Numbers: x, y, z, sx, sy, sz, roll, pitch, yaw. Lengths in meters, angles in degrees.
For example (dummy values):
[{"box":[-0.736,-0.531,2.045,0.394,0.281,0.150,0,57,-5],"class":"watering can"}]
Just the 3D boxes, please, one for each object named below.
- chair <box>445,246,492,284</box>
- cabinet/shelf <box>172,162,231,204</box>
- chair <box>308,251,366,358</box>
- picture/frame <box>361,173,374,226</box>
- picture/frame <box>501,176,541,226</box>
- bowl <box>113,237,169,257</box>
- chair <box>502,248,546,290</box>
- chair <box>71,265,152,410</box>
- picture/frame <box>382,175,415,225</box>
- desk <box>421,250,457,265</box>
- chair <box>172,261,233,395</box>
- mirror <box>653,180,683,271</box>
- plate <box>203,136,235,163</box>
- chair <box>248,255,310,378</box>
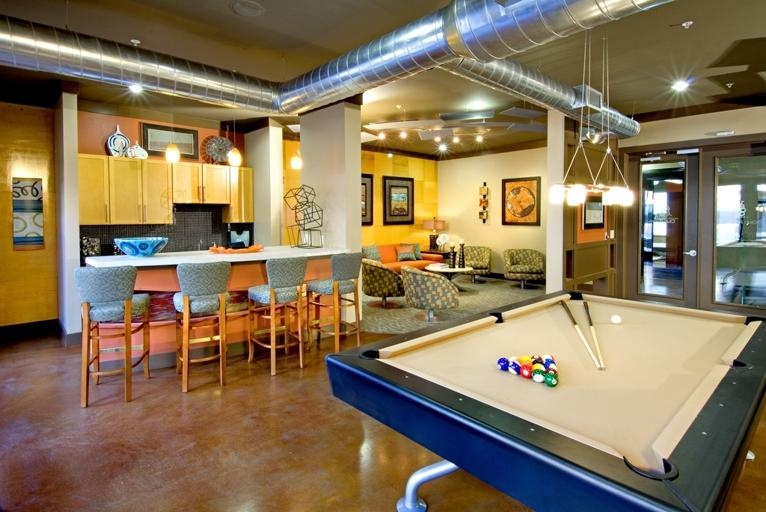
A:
[{"box":[2.128,0.199,11.338,0.718,0.814,0.749,1,7,-2],"class":"chair"},{"box":[-3.220,-1.262,8.595,0.988,0.671,0.387,-5,14,-40],"class":"cabinet/shelf"},{"box":[-0.654,0.608,6.771,0.616,1.382,0.613,2,3,39],"class":"chair"},{"box":[-0.355,-1.283,11.141,0.062,1.144,0.355,4,8,41],"class":"picture/frame"},{"box":[3.108,-1.241,10.952,0.079,1.294,1.184,0,-3,-41],"class":"picture/frame"},{"box":[-2.920,-0.109,5.949,0.532,0.221,0.304,-4,6,-27],"class":"bowl"},{"box":[2.990,0.259,10.457,0.840,0.797,0.790,1,5,6],"class":"chair"},{"box":[-2.984,0.829,5.507,0.647,1.437,0.718,1,4,-10],"class":"chair"},{"box":[0.322,-1.358,11.725,1.328,1.348,0.110,-1,1,-41],"class":"picture/frame"},{"box":[1.320,-0.011,11.634,0.492,0.437,0.371,-5,9,-40],"class":"desk"},{"box":[-2.161,0.742,5.834,0.703,1.512,0.701,-1,3,-29],"class":"chair"},{"box":[4.995,-0.565,8.507,0.104,1.480,0.471,-6,8,-33],"class":"mirror"},{"box":[-2.985,-1.917,8.852,0.620,0.576,0.138,0,7,-40],"class":"plate"},{"box":[-1.292,0.715,6.308,0.684,1.419,0.761,0,7,-36],"class":"chair"}]
